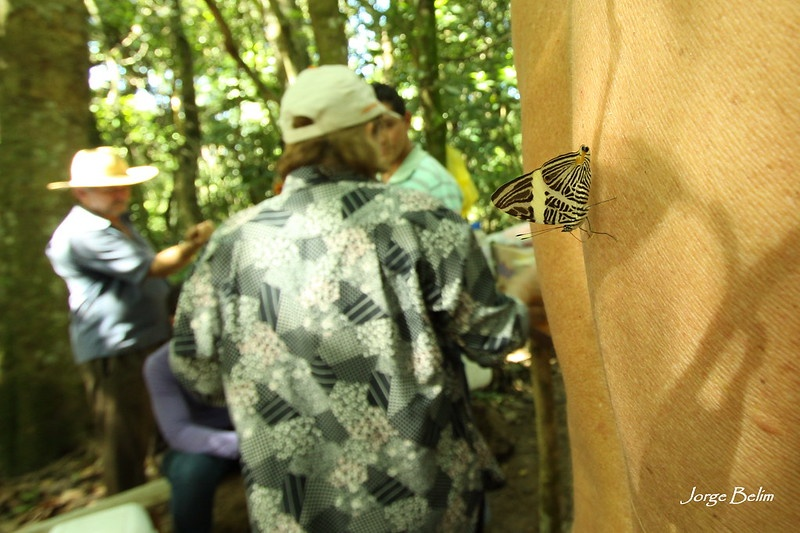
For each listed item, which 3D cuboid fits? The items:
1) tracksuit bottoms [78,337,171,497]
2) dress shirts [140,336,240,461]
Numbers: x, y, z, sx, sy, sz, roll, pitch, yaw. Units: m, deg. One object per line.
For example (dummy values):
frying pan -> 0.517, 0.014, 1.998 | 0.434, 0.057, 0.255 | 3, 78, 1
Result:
tracksuit bottoms -> -1.578, 0.819, 4.147 | 0.524, 1.035, 0.309 | 2, 25, -4
dress shirts -> -0.769, 0.566, 2.962 | 0.379, 0.556, 0.372 | 8, 20, 34
